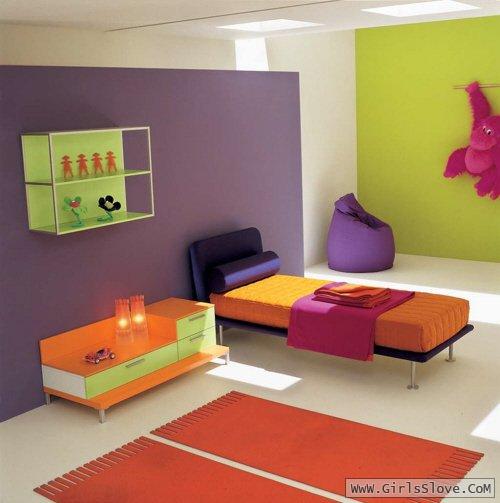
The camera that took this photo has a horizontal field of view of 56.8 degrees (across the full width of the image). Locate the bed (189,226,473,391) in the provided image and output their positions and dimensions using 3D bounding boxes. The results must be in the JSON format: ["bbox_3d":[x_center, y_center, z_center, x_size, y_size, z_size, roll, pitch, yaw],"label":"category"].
[{"bbox_3d":[0.542,0.389,4.037,2.275,1.153,0.834,1,6,33],"label":"bed"}]

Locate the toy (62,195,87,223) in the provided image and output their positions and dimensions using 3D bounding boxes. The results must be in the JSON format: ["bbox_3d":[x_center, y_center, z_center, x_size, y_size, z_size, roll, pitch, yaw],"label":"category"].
[{"bbox_3d":[-1.242,-0.272,3.277,0.167,0.092,0.167,28,43,29],"label":"toy"}]

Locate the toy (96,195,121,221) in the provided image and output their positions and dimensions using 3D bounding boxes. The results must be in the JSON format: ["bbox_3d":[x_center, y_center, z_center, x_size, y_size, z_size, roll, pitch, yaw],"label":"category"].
[{"bbox_3d":[-1.043,-0.344,3.477,0.169,0.185,0.174,18,21,37],"label":"toy"}]

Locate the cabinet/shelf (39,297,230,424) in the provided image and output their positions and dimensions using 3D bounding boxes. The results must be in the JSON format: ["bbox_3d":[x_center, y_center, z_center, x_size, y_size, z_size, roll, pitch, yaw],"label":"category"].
[{"bbox_3d":[-0.881,0.763,3.527,0.650,0.601,1.254,2,7,37],"label":"cabinet/shelf"}]

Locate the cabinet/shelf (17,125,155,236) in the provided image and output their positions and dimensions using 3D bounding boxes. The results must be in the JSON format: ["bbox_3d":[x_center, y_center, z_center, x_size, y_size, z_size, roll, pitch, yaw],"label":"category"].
[{"bbox_3d":[-1.202,-0.506,3.286,0.216,0.603,0.765,6,13,29],"label":"cabinet/shelf"}]

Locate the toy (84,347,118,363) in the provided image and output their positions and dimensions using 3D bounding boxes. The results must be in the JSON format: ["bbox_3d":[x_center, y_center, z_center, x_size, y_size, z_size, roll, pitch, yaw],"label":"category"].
[{"bbox_3d":[-1.027,0.719,3.200,0.224,0.057,0.187,-7,7,-44],"label":"toy"}]

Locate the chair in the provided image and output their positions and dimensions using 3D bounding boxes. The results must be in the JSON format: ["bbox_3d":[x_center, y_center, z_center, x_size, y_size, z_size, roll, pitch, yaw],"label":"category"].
[{"bbox_3d":[1.672,-0.249,7.130,0.917,1.147,0.988,0,4,5],"label":"chair"}]

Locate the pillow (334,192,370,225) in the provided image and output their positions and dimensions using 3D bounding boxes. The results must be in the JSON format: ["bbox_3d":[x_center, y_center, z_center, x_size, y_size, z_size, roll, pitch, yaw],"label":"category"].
[{"bbox_3d":[1.496,-0.624,6.782,0.401,0.174,0.412,21,17,33],"label":"pillow"}]
